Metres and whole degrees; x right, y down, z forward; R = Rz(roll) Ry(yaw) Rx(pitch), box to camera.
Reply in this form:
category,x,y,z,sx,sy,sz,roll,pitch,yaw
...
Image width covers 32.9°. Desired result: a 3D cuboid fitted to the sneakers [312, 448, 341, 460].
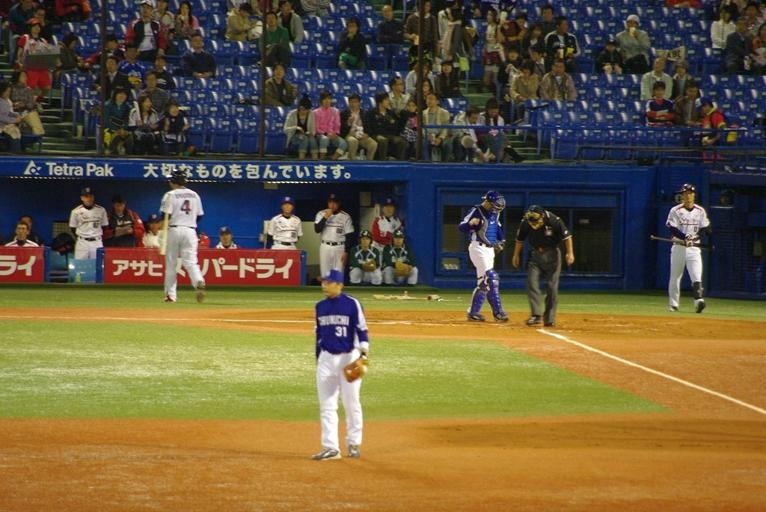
category,x,y,z,sx,sy,sz,roll,pitch,yaw
sneakers,-0.866,3.128,20.470,0.492,0.173,0.170,1,-1,-4

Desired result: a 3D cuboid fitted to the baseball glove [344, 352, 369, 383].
category,x,y,z,sx,sy,sz,roll,pitch,yaw
baseball glove,-0.416,1.767,20.362,0.402,0.295,0.144,-34,-41,17

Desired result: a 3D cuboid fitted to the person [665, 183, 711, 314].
category,x,y,z,sx,sy,sz,roll,pitch,yaw
person,7.031,-0.183,30.099,0.926,2.169,0.895,1,0,3

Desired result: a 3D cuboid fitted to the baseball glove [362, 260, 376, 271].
category,x,y,z,sx,sy,sz,roll,pitch,yaw
baseball glove,-0.336,0.239,34.151,0.296,0.182,0.255,6,-5,-28

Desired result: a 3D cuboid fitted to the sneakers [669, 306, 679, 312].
category,x,y,z,sx,sy,sz,roll,pitch,yaw
sneakers,6.778,1.227,30.385,0.126,0.134,0.163,-3,7,-5

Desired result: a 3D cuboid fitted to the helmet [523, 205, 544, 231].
category,x,y,z,sx,sy,sz,roll,pitch,yaw
helmet,3.212,-0.815,27.355,0.420,0.466,0.476,-5,-2,10

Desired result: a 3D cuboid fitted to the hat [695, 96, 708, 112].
category,x,y,z,sx,sy,sz,roll,pitch,yaw
hat,8.751,-4.206,35.706,0.484,0.251,0.306,-29,28,-13

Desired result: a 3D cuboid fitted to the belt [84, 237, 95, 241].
category,x,y,z,sx,sy,sz,roll,pitch,yaw
belt,-7.547,-0.453,33.698,0.247,0.055,0.058,1,-1,-31

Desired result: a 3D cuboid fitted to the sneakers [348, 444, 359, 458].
category,x,y,z,sx,sy,sz,roll,pitch,yaw
sneakers,-0.452,3.098,20.572,0.221,0.187,0.124,-3,10,-3

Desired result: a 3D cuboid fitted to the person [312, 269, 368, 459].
category,x,y,z,sx,sy,sz,roll,pitch,yaw
person,-0.656,1.718,20.492,0.802,2.519,0.308,1,0,-2

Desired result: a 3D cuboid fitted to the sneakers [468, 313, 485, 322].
category,x,y,z,sx,sy,sz,roll,pitch,yaw
sneakers,2.023,1.342,28.247,0.414,0.155,0.143,2,6,0

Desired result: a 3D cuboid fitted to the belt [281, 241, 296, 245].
category,x,y,z,sx,sy,sz,roll,pitch,yaw
belt,-2.453,-0.333,34.226,0.353,0.069,0.128,1,-1,-35

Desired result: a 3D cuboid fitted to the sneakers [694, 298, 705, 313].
category,x,y,z,sx,sy,sz,roll,pitch,yaw
sneakers,7.289,1.153,29.881,0.182,0.186,0.458,0,-27,0

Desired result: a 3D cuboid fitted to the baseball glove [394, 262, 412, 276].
category,x,y,z,sx,sy,sz,roll,pitch,yaw
baseball glove,0.549,0.329,34.269,0.359,0.246,0.387,10,-11,-32

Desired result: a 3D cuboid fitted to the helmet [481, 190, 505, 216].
category,x,y,z,sx,sy,sz,roll,pitch,yaw
helmet,2.327,-1.167,27.735,0.435,0.399,0.671,1,0,3

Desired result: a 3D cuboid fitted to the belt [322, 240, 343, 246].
category,x,y,z,sx,sy,sz,roll,pitch,yaw
belt,-1.311,-0.353,34.512,0.555,0.101,0.187,1,0,-2

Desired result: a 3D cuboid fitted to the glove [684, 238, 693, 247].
category,x,y,z,sx,sy,sz,roll,pitch,yaw
glove,6.980,-0.337,29.736,0.247,0.207,0.055,-5,0,8

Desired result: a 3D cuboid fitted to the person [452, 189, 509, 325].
category,x,y,z,sx,sy,sz,roll,pitch,yaw
person,2.148,0.002,27.879,1.042,2.214,0.947,1,0,4

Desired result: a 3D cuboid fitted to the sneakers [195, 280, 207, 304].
category,x,y,z,sx,sy,sz,roll,pitch,yaw
sneakers,-4.051,0.781,29.034,0.216,0.578,0.247,-3,39,-8

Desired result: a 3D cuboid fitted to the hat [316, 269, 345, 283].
category,x,y,z,sx,sy,sz,roll,pitch,yaw
hat,-0.779,0.318,20.593,0.301,0.148,0.211,14,-2,-6
